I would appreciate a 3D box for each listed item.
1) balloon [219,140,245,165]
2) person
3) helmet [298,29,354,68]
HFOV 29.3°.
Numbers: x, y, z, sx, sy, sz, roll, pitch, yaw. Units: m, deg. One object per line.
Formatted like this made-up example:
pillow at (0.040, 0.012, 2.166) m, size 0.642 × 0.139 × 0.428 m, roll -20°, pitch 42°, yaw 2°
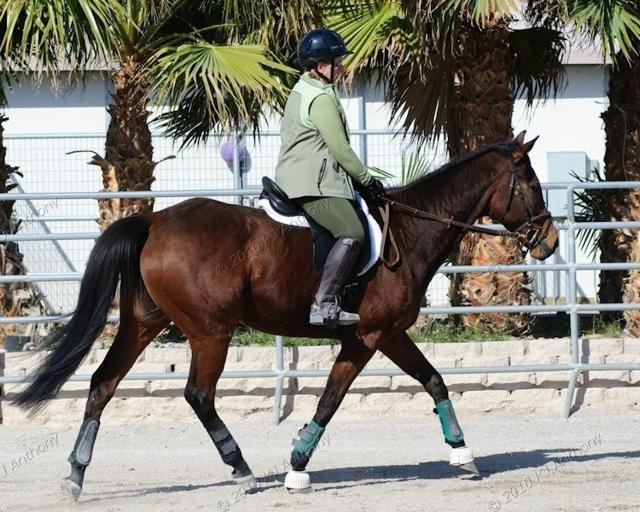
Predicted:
balloon at (-1.156, -1.388, 16.230) m, size 0.251 × 0.344 × 0.299 m, roll -4°, pitch -7°, yaw 8°
person at (0.049, -0.690, 11.184) m, size 0.891 × 2.692 × 0.717 m, roll -10°, pitch 8°, yaw -8°
helmet at (0.032, -1.929, 11.374) m, size 0.521 × 0.336 × 0.400 m, roll 0°, pitch 17°, yaw 9°
